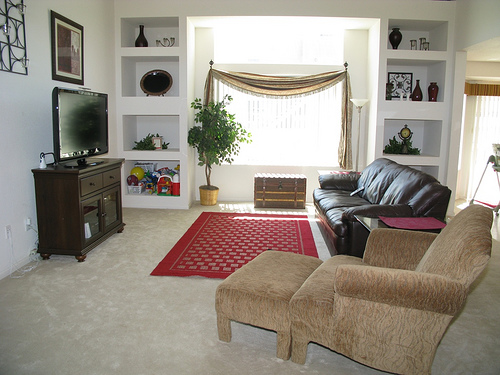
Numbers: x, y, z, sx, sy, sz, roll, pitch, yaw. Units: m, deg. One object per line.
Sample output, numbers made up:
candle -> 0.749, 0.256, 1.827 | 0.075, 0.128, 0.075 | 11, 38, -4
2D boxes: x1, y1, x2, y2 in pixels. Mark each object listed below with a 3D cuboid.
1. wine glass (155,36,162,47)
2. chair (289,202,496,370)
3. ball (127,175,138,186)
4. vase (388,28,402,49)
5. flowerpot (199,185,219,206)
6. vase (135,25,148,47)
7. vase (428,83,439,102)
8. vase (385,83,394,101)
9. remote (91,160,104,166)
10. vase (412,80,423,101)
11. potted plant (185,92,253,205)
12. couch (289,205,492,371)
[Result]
wine glass -> -1.610, -2.604, 6.213 | 0.096, 0.183, 0.303 | -2, 15, -14
chair -> 0.954, 0.621, 2.631 | 1.188, 1.160, 1.252 | 1, 9, 21
ball -> -2.038, -0.140, 6.179 | 0.161, 0.177, 0.141 | -11, 15, 29
vase -> 2.448, -2.525, 5.942 | 0.193, 0.363, 0.249 | 8, 15, 24
flowerpot -> -0.741, 0.124, 6.321 | 0.342, 0.328, 0.354 | -1, 15, -10
vase -> -1.858, -2.572, 5.965 | 0.194, 0.367, 0.348 | -4, 15, -21
vase -> 3.067, -1.592, 5.859 | 0.180, 0.299, 0.161 | 4, 14, 8
vase -> 2.380, -1.652, 6.030 | 0.119, 0.297, 0.471 | 7, 15, 20
remote -> -1.844, -0.304, 4.250 | 0.122, 0.013, 0.285 | -3, 15, -17
vase -> 2.873, -1.676, 6.041 | 0.155, 0.346, 0.346 | 8, 15, 23
potted plant -> -0.618, -0.620, 6.200 | 0.932, 1.877, 1.059 | 13, 9, 22
couch -> 0.902, 0.699, 2.674 | 1.239, 1.156, 1.139 | 2, 10, 18
